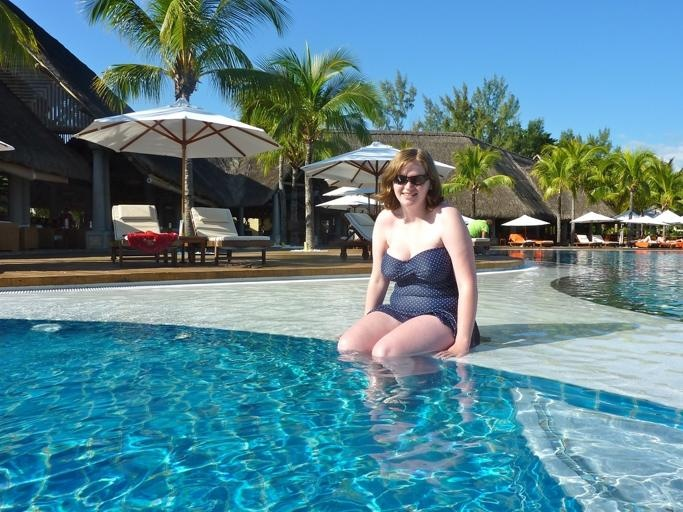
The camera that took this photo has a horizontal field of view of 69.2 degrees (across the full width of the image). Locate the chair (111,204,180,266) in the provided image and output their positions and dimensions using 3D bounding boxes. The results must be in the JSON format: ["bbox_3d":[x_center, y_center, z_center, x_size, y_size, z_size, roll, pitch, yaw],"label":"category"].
[{"bbox_3d":[-4.424,-0.500,10.892,1.159,1.085,2.001,-4,9,-31],"label":"chair"}]

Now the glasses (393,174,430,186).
[{"bbox_3d":[0.499,-0.527,3.491,0.231,0.082,0.059,-1,-1,6],"label":"glasses"}]

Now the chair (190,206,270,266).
[{"bbox_3d":[-2.610,-0.502,11.303,1.153,1.132,2.008,-2,5,-33],"label":"chair"}]

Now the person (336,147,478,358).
[{"bbox_3d":[0.464,0.154,3.608,1.191,1.677,1.035,-3,6,1],"label":"person"}]

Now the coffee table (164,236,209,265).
[{"bbox_3d":[-3.402,-0.138,10.326,1.143,0.574,1.037,-1,3,-10],"label":"coffee table"}]
